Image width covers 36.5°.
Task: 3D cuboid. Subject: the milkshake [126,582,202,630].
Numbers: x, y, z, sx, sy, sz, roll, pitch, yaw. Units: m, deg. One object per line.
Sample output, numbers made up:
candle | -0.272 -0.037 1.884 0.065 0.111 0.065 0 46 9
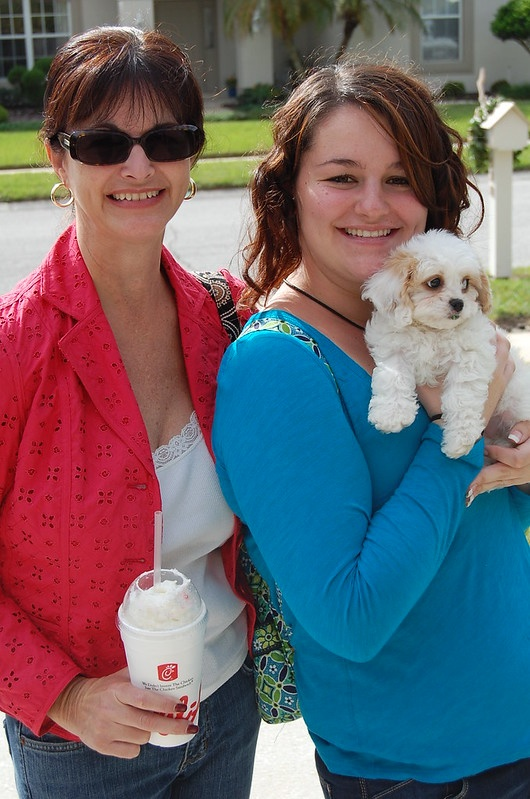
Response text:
milkshake | -0.193 0.392 1.515 0.153 0.050 0.111 -4 15 -6
